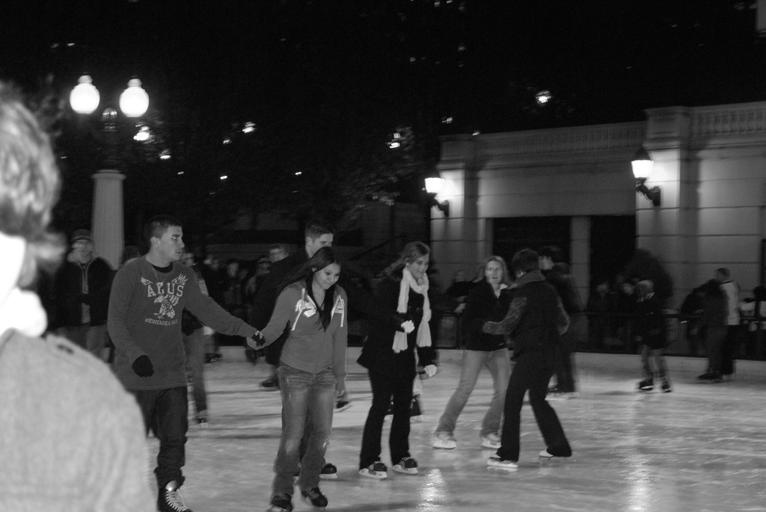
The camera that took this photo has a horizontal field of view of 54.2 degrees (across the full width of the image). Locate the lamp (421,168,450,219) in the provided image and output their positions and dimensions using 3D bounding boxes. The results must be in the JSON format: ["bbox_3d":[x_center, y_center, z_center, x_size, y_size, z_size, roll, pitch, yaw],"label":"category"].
[{"bbox_3d":[1.442,-1.872,21.815,0.779,1.370,0.822,7,-2,-32],"label":"lamp"}]

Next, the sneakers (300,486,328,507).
[{"bbox_3d":[-0.558,2.011,6.290,0.293,0.115,0.108,8,2,36],"label":"sneakers"}]

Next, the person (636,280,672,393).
[{"bbox_3d":[4.903,1.426,13.549,0.678,1.734,1.346,6,-1,17],"label":"person"}]

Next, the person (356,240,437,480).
[{"bbox_3d":[0.175,1.290,7.515,0.829,1.798,0.735,-2,-25,7],"label":"person"}]

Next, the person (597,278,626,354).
[{"bbox_3d":[5.151,1.329,16.732,0.719,1.365,0.731,6,-1,19],"label":"person"}]

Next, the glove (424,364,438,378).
[{"bbox_3d":[0.502,1.196,7.860,0.084,0.112,0.209,-4,-7,-13],"label":"glove"}]

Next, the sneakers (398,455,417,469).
[{"bbox_3d":[0.245,2.051,7.433,0.189,0.108,0.097,6,-6,28],"label":"sneakers"}]

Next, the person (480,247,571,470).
[{"bbox_3d":[1.552,1.062,7.958,0.884,2.090,0.564,7,-1,-35],"label":"person"}]

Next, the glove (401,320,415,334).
[{"bbox_3d":[0.258,0.698,7.411,0.095,0.126,0.345,6,-2,11],"label":"glove"}]

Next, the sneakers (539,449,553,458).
[{"bbox_3d":[1.761,2.135,8.134,0.133,0.073,0.080,4,-1,34],"label":"sneakers"}]

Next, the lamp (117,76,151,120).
[{"bbox_3d":[-3.900,-2.445,11.843,0.705,0.793,0.657,0,6,-12],"label":"lamp"}]

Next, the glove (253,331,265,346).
[{"bbox_3d":[-1.019,0.675,6.207,0.081,0.097,0.106,-23,56,-42],"label":"glove"}]

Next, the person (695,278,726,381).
[{"bbox_3d":[6.563,1.453,14.849,0.429,1.729,0.635,6,-1,29],"label":"person"}]
